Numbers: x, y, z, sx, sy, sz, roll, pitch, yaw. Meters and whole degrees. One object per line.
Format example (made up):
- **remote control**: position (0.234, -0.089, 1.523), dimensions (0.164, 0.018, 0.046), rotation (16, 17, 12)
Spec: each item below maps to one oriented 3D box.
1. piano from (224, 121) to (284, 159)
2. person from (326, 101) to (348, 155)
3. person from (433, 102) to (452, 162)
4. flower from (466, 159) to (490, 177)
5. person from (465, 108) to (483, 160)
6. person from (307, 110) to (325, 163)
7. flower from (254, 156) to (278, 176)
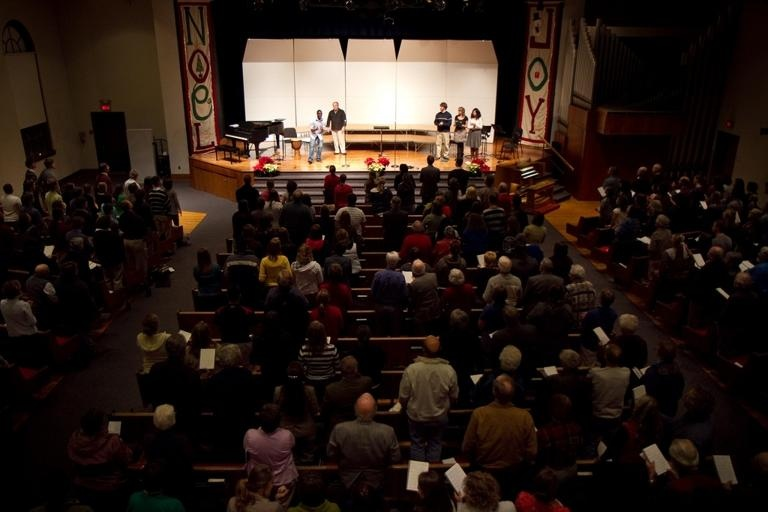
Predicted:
- **piano**: position (-4.350, -4.071, 19.522), dimensions (1.625, 1.154, 1.974), rotation (13, 25, 34)
- **person**: position (-1.663, -4.419, 19.727), dimensions (0.671, 1.851, 1.542), rotation (0, 17, -5)
- **person**: position (1.979, -4.170, 19.056), dimensions (0.572, 1.907, 1.177), rotation (3, 17, 7)
- **flower**: position (2.983, -2.815, 17.994), dimensions (0.644, 0.437, 0.688), rotation (2, 21, 5)
- **person**: position (3.055, -4.052, 18.792), dimensions (0.539, 1.724, 0.533), rotation (1, 38, 6)
- **person**: position (-2.281, -4.018, 19.091), dimensions (0.569, 1.703, 0.683), rotation (-1, 16, -7)
- **flower**: position (-3.731, -2.784, 17.996), dimensions (0.641, 0.372, 0.681), rotation (-1, 17, -6)
